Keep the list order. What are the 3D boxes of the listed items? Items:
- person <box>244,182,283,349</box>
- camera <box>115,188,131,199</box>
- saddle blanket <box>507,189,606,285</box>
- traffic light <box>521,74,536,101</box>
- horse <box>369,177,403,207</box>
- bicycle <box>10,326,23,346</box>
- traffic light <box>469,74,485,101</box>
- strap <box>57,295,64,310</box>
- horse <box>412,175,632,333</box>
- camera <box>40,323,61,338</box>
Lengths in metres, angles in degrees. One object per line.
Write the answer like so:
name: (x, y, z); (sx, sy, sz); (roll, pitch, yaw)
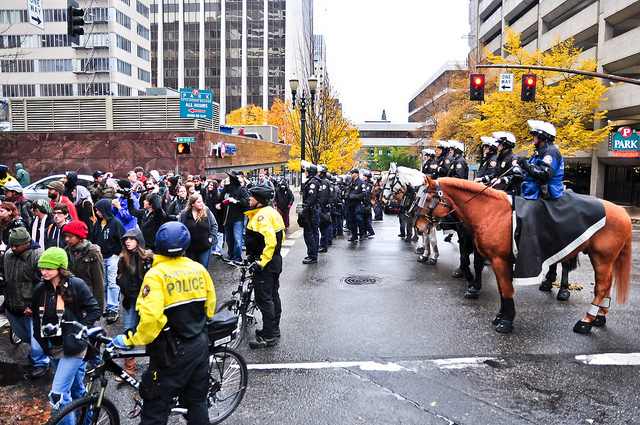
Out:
person: (-1.146, 1.071, 12.399); (0.787, 3.308, 1.014); (-2, 6, -7)
camera: (-5.005, -0.472, 15.280); (0.322, 0.266, 0.116); (3, -26, -12)
saddle blanket: (5.016, 0.533, 12.964); (1.956, 1.903, 0.553); (-2, 6, -8)
traffic light: (7.843, -4.678, 22.692); (0.445, 0.950, 0.427); (0, 6, 16)
horse: (2.442, -0.832, 25.884); (0.863, 1.099, 0.422); (5, -10, 22)
bicycle: (-6.285, 2.579, 12.431); (0.206, 0.310, 0.408); (-7, 8, -43)
traffic light: (5.957, -4.744, 22.945); (0.479, 0.934, 0.673); (-1, 6, 7)
strap: (-4.395, 1.524, 10.166); (0.099, 0.240, 0.062); (-2, 6, -3)
horse: (6.059, 0.751, 16.341); (8.071, 3.674, 3.657); (0, -2, 22)
camera: (-4.484, 1.980, 10.004); (0.356, 0.217, 0.234); (1, -8, -7)
